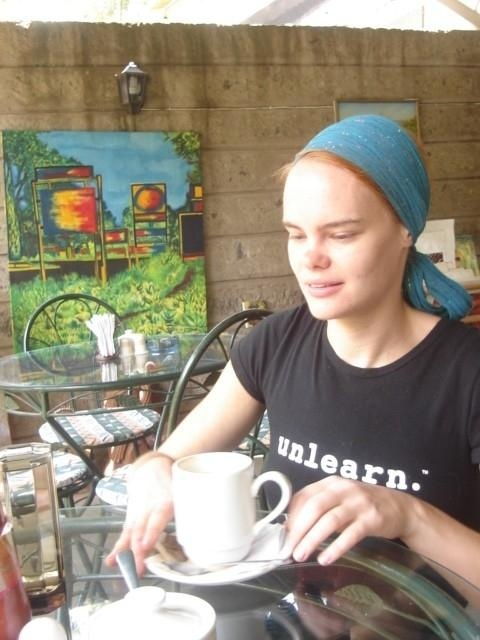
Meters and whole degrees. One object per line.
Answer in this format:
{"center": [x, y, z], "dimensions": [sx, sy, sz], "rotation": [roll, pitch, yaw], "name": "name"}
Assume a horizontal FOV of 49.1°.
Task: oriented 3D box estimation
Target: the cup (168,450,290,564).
{"center": [-0.012, 0.198, 0.581], "dimensions": [0.123, 0.109, 0.087], "rotation": [-11, 11, -40], "name": "cup"}

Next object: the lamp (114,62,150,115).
{"center": [-0.593, -1.279, 2.895], "dimensions": [0.169, 0.273, 0.158], "rotation": [-4, 14, -17], "name": "lamp"}

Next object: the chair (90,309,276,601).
{"center": [-0.048, 0.159, 0.829], "dimensions": [0.271, 0.419, 0.308], "rotation": [1, 9, 4], "name": "chair"}
